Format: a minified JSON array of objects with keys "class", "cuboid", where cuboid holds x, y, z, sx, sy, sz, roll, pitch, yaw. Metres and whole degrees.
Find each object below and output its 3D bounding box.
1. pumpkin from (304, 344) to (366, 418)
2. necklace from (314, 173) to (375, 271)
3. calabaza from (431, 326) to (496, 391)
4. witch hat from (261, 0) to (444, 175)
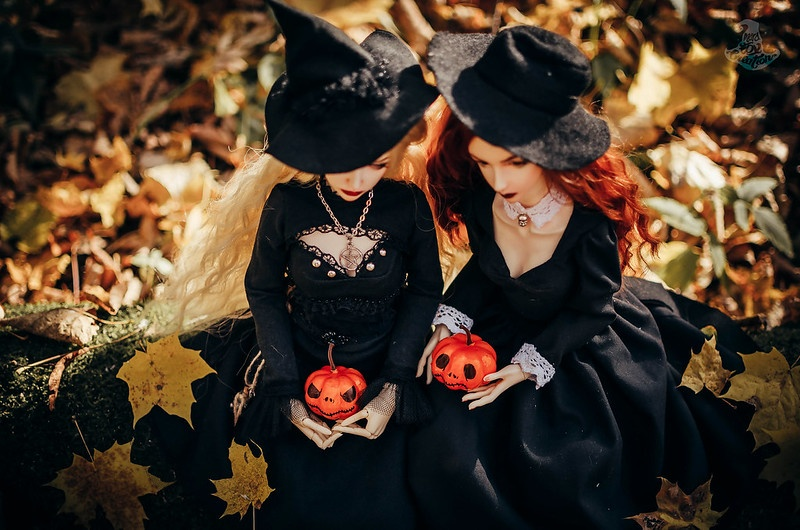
[{"class":"pumpkin","cuboid":[-0.359,0.614,3.972,0.344,0.414,0.326,-3,6,22]},{"class":"necklace","cuboid":[-0.328,-0.206,3.948,0.303,0.284,0.432,10,46,-9]},{"class":"calabaza","cuboid":[0.346,0.493,4.060,0.337,0.297,0.327,13,22,17]},{"class":"witch hat","cuboid":[-0.237,-0.835,3.645,0.798,0.591,0.671,-1,49,-18]}]
